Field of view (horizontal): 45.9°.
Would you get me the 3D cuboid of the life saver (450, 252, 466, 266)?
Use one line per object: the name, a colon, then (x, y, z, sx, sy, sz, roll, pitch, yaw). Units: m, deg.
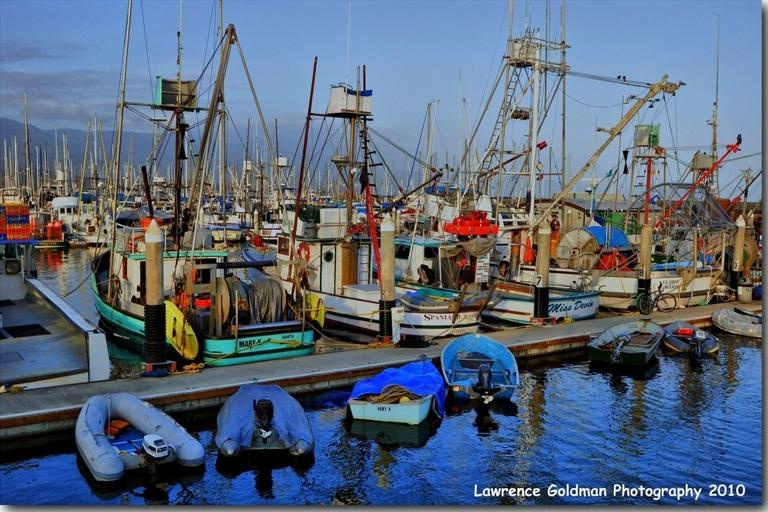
life saver: (2.957, 0.147, 35.670, 0.498, 0.571, 1.426, 2, 7, -5)

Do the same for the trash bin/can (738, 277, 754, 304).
trash bin/can: (15.751, 1.436, 39.633, 0.640, 1.051, 0.718, 4, 8, 18)

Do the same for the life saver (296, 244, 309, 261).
life saver: (-2.997, -0.149, 33.504, 0.458, 0.700, 0.064, 15, 22, 41)
